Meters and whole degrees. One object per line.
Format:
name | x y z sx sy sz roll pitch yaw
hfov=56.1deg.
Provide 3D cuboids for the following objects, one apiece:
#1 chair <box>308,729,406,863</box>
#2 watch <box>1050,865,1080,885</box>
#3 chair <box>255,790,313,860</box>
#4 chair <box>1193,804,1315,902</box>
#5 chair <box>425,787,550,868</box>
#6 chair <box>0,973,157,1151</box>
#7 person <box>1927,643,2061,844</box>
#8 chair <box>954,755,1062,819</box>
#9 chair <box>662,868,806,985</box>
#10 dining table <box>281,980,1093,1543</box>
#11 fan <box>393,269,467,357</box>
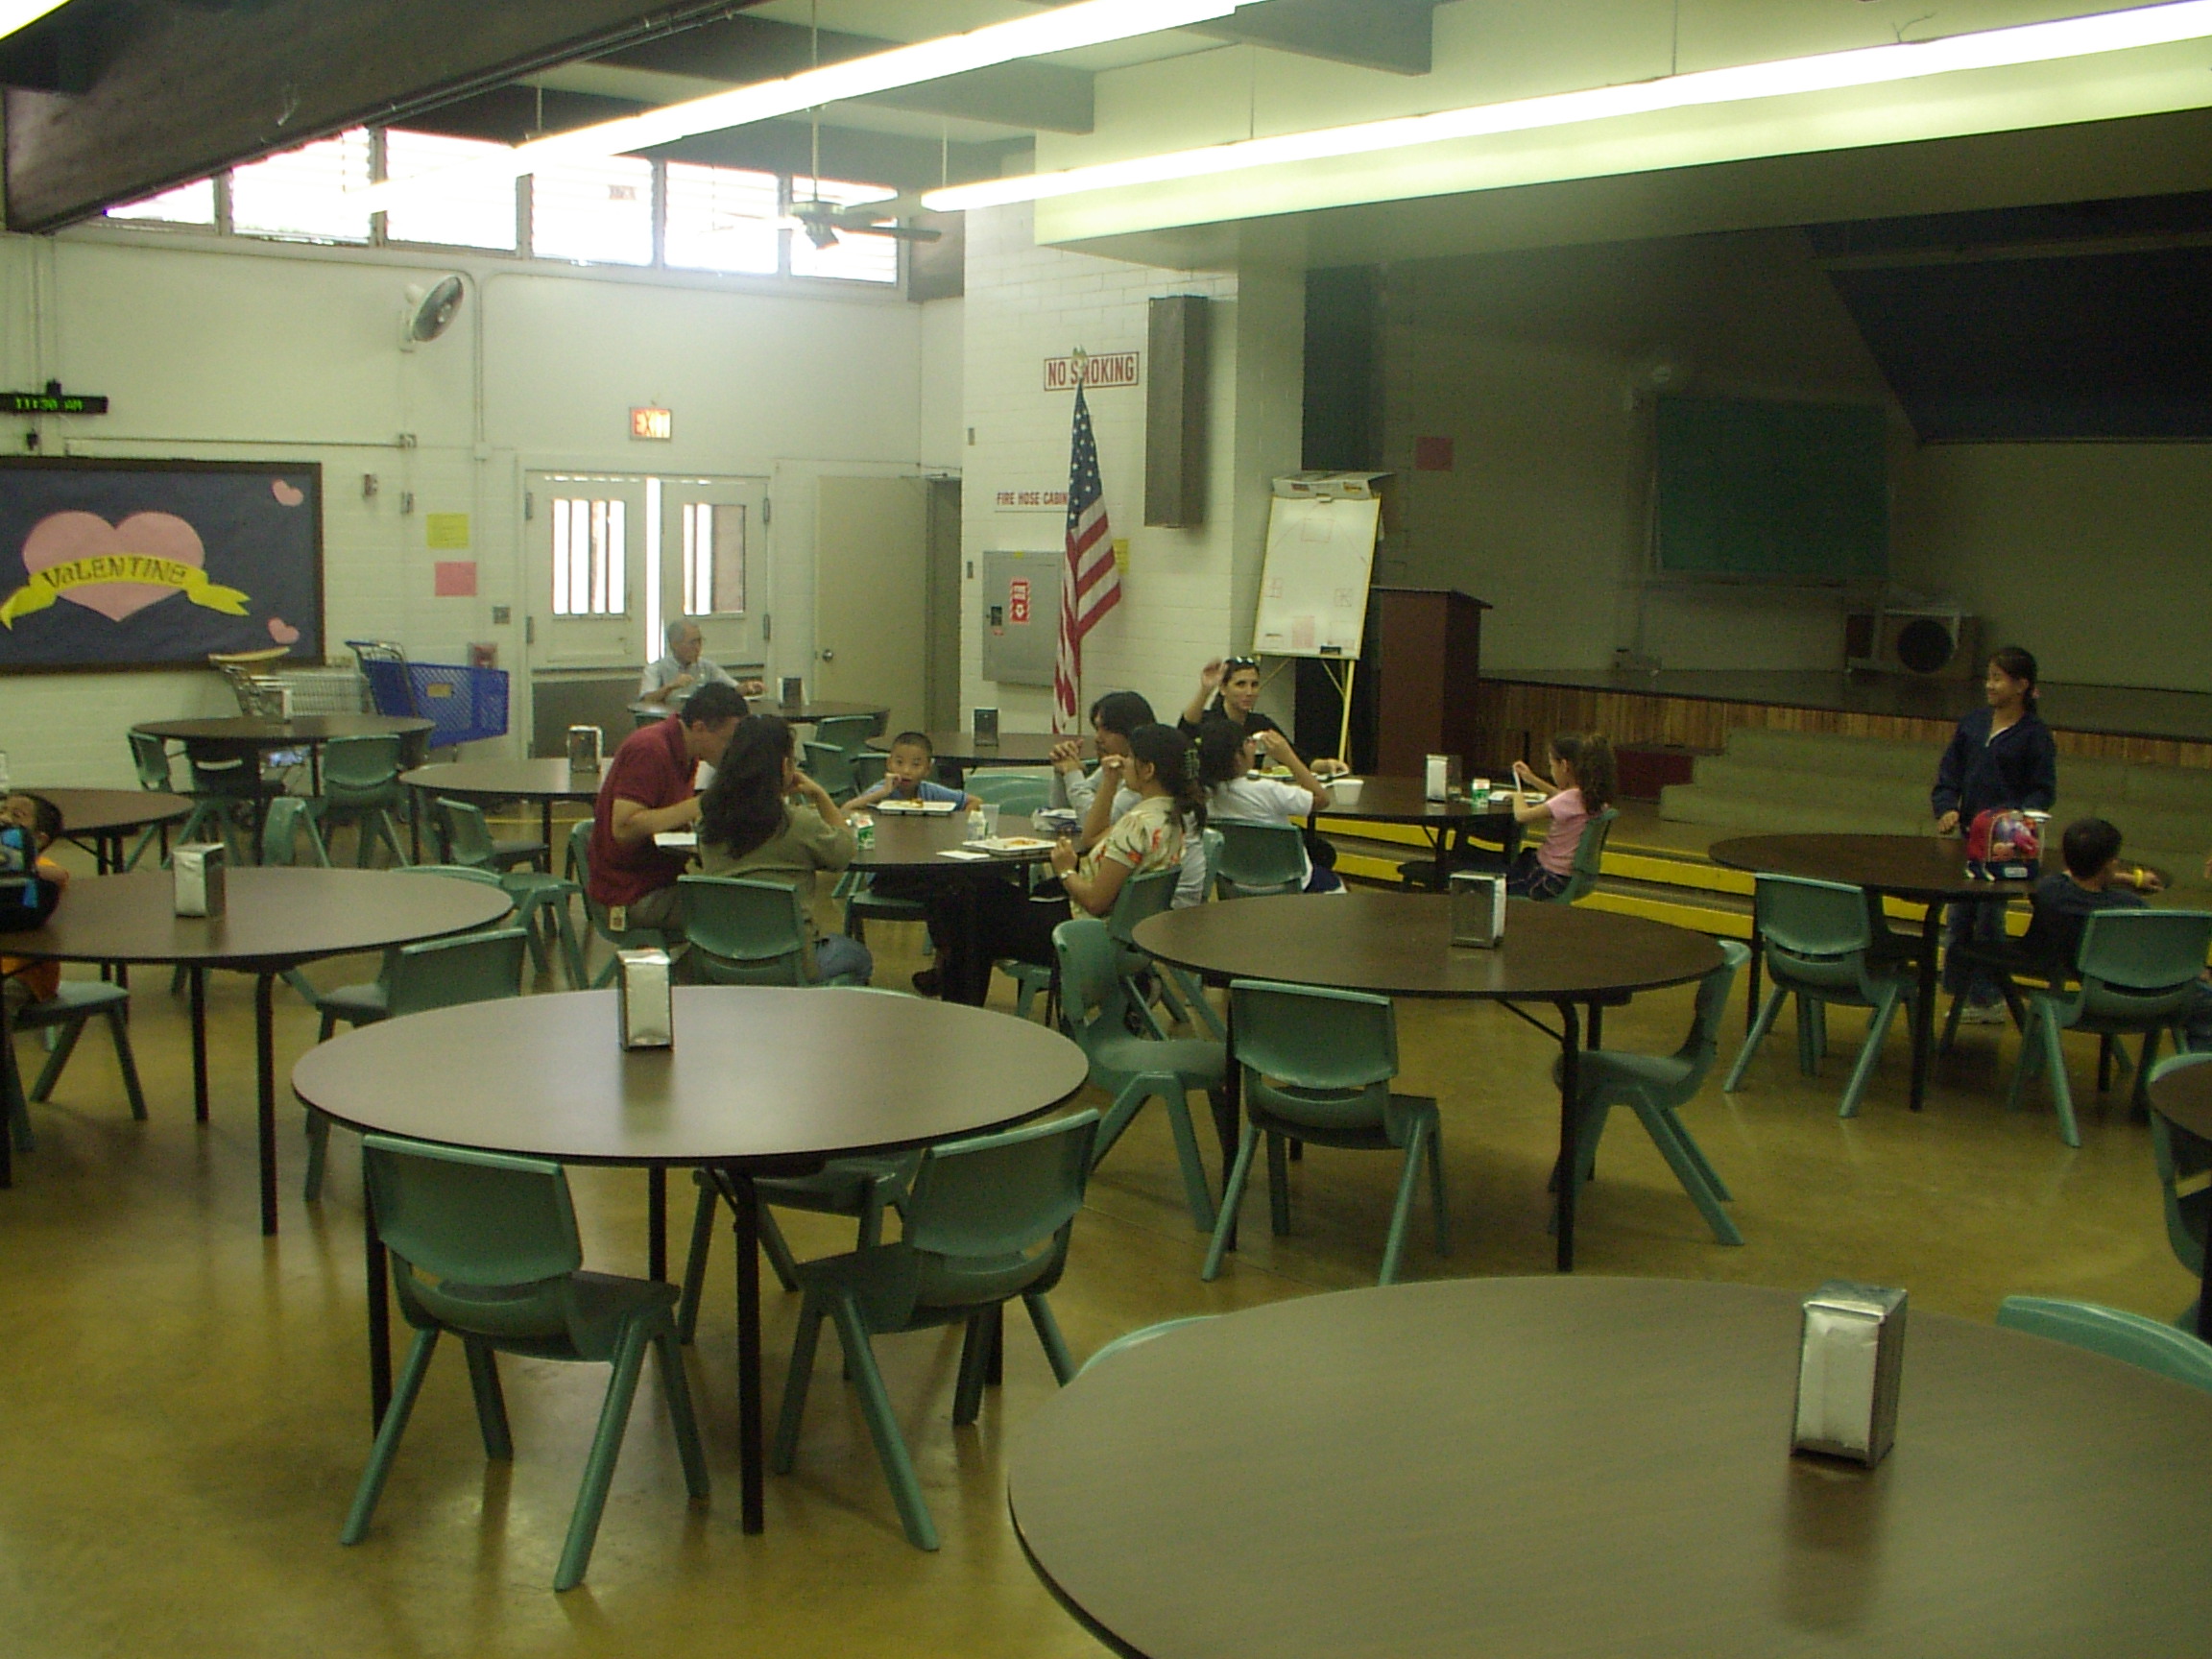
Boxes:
chair | -3.828 -0.192 10.580 0.491 0.758 0.574 -3 27 -16
watch | -0.135 0.151 7.046 0.060 0.041 0.063 2 -3 11
chair | -3.195 -0.008 8.042 0.150 0.263 0.562 -5 13 -25
chair | 0.617 0.108 8.441 0.333 0.483 0.362 6 22 18
chair | -2.852 -0.010 9.507 0.268 0.400 0.331 15 22 38
chair | -3.550 0.769 7.134 0.574 0.476 0.554 0 1 -17
person | 3.628 -0.366 8.421 0.419 0.719 0.893 5 12 22
chair | -0.455 -0.187 9.269 0.361 0.250 0.367 3 5 32
chair | -1.220 0.298 6.924 0.358 0.498 0.405 3 12 10
dining table | -0.921 0.572 4.719 1.347 0.648 1.377 13 18 39
fan | -4.355 -3.381 13.470 0.466 0.497 0.287 -5 13 -24
